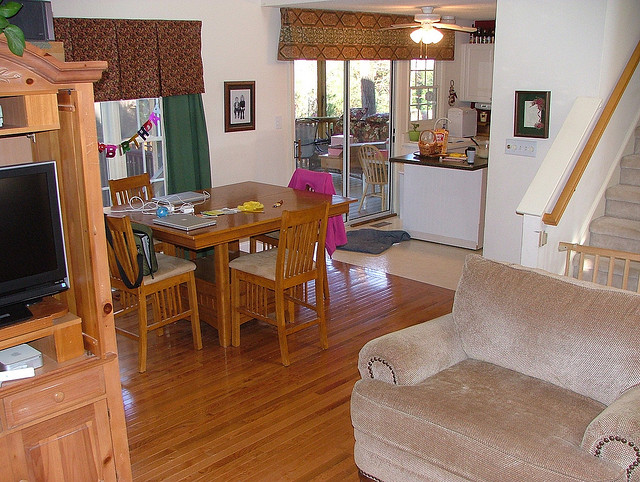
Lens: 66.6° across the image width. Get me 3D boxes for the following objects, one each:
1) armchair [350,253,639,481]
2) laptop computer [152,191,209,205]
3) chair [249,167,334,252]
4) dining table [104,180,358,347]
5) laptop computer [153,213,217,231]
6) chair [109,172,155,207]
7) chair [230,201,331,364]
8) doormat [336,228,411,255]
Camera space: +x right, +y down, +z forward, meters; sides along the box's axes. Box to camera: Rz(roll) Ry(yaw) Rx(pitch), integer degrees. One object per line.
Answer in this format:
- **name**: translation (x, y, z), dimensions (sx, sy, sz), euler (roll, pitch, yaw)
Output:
- **armchair**: translation (0.881, 0.734, 2.564), dimensions (1.361, 0.998, 1.103), euler (4, 18, 20)
- **laptop computer**: translation (-1.235, -0.394, 4.452), dimensions (0.481, 0.071, 0.271), euler (-17, 22, -40)
- **chair**: translation (-0.294, -0.130, 4.934), dimensions (0.770, 1.069, 0.807), euler (-8, 23, -22)
- **dining table**: translation (-0.921, -0.236, 4.189), dimensions (1.468, 1.013, 2.009), euler (13, 21, 38)
- **laptop computer**: translation (-1.063, -0.139, 3.772), dimensions (0.512, 0.046, 0.265), euler (4, 17, 20)
- **chair**: translation (-1.818, -0.483, 4.667), dimensions (0.307, 0.501, 0.294), euler (11, 22, 39)
- **chair**: translation (-0.349, 0.286, 3.980), dimensions (0.664, 1.123, 0.714), euler (-8, 14, -38)
- **doormat**: translation (0.693, 0.007, 6.430), dimensions (0.820, 0.112, 0.842), euler (5, 18, 23)
